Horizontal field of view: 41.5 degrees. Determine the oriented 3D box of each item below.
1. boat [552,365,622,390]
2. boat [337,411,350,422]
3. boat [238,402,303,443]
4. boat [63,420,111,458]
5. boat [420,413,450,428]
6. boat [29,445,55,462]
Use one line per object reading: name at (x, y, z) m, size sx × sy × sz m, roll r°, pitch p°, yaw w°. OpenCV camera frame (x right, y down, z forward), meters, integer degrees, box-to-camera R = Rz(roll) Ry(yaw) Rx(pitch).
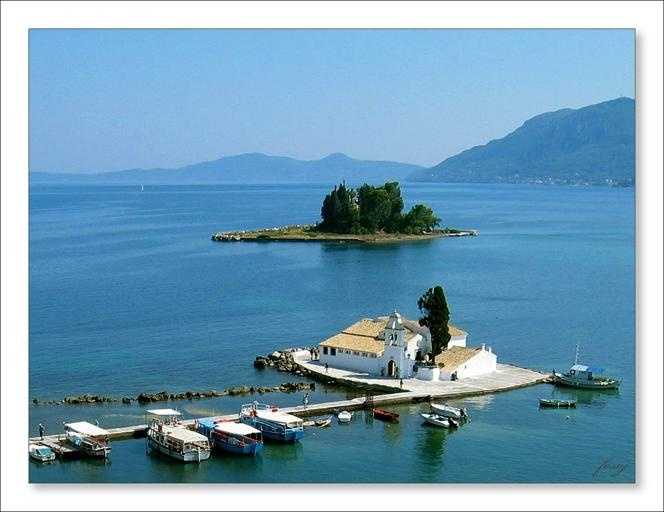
boat at (22.168, 10.645, 75.469) m, size 4.310 × 2.203 × 3.785 m, roll -11°, pitch -4°, yaw 43°
boat at (0.978, 12.403, 67.636) m, size 1.135 × 0.770 × 1.066 m, roll -1°, pitch -1°, yaw -17°
boat at (-4.395, 12.571, 64.466) m, size 3.896 × 2.948 × 3.759 m, roll -6°, pitch 0°, yaw 36°
boat at (-16.960, 12.805, 61.284) m, size 1.759 × 1.630 × 5.383 m, roll -2°, pitch 5°, yaw -38°
boat at (8.019, 12.462, 66.727) m, size 1.465 × 0.680 × 0.881 m, roll 10°, pitch 20°, yaw 26°
boat at (-20.089, 13.654, 60.491) m, size 1.815 × 1.043 × 1.093 m, roll -1°, pitch 0°, yaw 24°
